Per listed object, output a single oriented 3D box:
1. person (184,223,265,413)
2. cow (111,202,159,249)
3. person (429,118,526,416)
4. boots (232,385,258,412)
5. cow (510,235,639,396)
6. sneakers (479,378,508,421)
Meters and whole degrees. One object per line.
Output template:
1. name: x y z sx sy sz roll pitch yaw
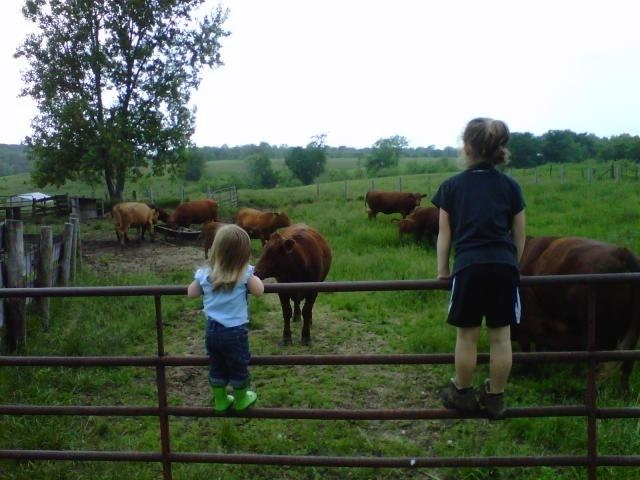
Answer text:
1. person: -0.937 0.812 6.500 0.765 1.931 0.626 1 13 -4
2. cow: -6.072 -0.564 20.742 0.774 1.289 1.720 4 7 22
3. person: 1.497 0.479 6.144 0.835 2.359 0.414 3 6 14
4. boots: -0.729 1.523 6.327 0.141 0.209 0.292 9 22 24
5. cow: 3.440 0.921 8.662 1.001 1.832 1.875 -1 7 -26
6. sneakers: 1.646 1.541 6.051 0.148 0.205 0.443 1 2 8
